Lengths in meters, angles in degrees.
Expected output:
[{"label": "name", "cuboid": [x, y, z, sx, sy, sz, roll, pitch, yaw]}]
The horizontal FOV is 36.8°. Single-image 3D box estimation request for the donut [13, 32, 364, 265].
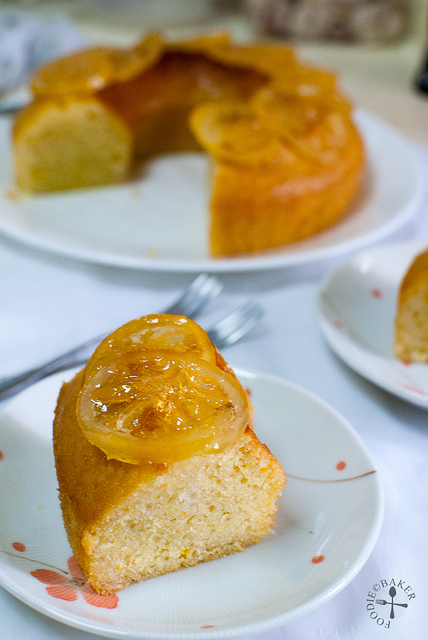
[{"label": "donut", "cuboid": [-0.014, -0.140, 0.462, 0.222, 0.071, 0.191, 26, 51, 24]}]
